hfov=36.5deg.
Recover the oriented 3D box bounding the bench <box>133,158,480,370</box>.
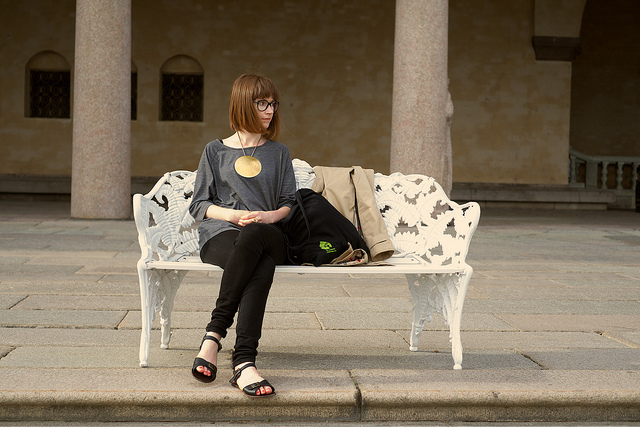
[{"bbox_3d":[-0.205,0.673,11.308,3.013,1.466,0.991,0,-4,-5],"label":"bench"}]

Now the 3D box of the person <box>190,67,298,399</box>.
[{"bbox_3d":[-0.882,0.085,11.000,1.162,3.370,1.460,2,8,-7],"label":"person"}]

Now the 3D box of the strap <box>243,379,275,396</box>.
[{"bbox_3d":[-0.655,1.868,10.378,0.287,0.064,0.147,-4,6,18],"label":"strap"}]

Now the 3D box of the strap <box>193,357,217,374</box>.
[{"bbox_3d":[-1.269,1.650,10.514,0.244,0.075,0.130,20,0,-38],"label":"strap"}]

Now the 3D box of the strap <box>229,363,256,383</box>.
[{"bbox_3d":[-0.855,1.745,10.524,0.368,0.127,0.114,-27,-16,0],"label":"strap"}]

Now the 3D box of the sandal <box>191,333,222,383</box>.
[{"bbox_3d":[-1.262,1.690,10.610,0.229,0.214,0.581,19,4,-11],"label":"sandal"}]
